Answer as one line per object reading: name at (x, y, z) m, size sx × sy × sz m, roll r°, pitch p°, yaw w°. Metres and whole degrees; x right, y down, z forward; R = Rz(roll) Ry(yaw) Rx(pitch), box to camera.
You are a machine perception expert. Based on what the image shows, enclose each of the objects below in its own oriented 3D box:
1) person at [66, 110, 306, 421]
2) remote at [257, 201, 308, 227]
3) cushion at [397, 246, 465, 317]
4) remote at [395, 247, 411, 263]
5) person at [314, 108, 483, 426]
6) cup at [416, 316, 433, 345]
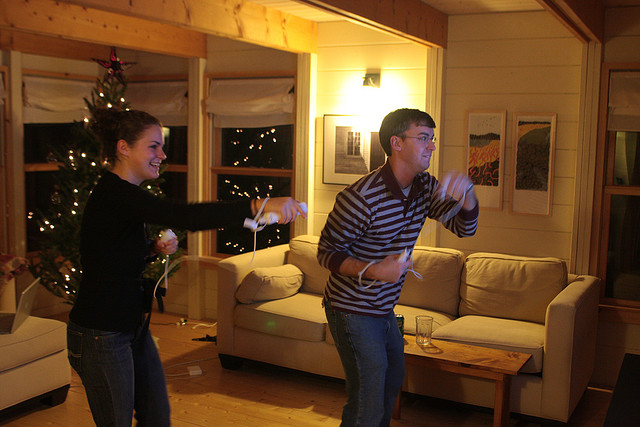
person at (-0.748, 0.329, 2.697) m, size 0.953 × 1.695 × 0.582 m, roll 3°, pitch 11°, yaw 18°
remote at (-0.174, -0.009, 2.614) m, size 0.089 × 0.130 × 0.340 m, roll 27°, pitch 25°, yaw 29°
cushion at (1.049, 0.613, 4.776) m, size 0.732 × 0.595 × 0.308 m, roll 10°, pitch 11°, yaw 20°
remote at (0.439, 0.226, 2.783) m, size 0.074 × 0.031 × 0.056 m, roll -43°, pitch 19°, yaw -3°
person at (0.402, 0.312, 2.953) m, size 0.847 × 1.794 × 0.403 m, roll -5°, pitch 11°, yaw -28°
cup at (0.811, 0.916, 4.074) m, size 0.138 × 0.180 × 0.141 m, roll -3°, pitch -4°, yaw 0°
